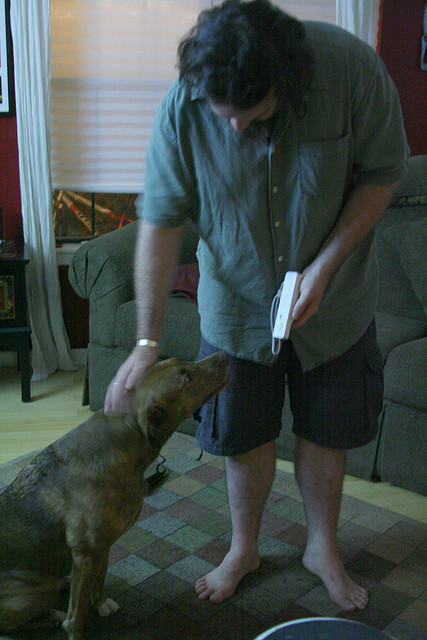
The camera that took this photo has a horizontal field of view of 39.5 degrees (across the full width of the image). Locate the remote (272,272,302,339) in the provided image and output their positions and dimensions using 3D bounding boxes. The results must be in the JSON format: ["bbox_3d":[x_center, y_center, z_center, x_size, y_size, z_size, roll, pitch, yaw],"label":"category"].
[{"bbox_3d":[0.111,-0.024,0.899,0.033,0.098,0.049,4,5,16],"label":"remote"}]

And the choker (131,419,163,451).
[{"bbox_3d":[-0.083,0.141,0.735,0.022,0.031,0.012,-11,33,39],"label":"choker"}]
